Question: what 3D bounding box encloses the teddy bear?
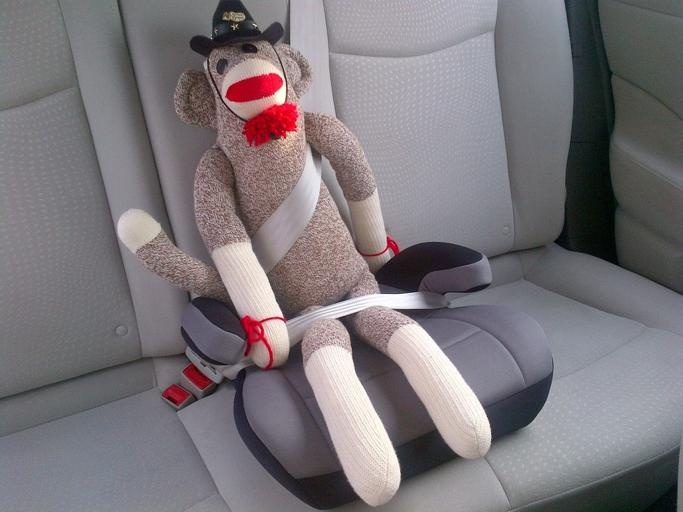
[{"bbox_3d":[-0.007,-0.074,1.059,0.658,0.945,0.593,5,27,37],"label":"teddy bear"}]
